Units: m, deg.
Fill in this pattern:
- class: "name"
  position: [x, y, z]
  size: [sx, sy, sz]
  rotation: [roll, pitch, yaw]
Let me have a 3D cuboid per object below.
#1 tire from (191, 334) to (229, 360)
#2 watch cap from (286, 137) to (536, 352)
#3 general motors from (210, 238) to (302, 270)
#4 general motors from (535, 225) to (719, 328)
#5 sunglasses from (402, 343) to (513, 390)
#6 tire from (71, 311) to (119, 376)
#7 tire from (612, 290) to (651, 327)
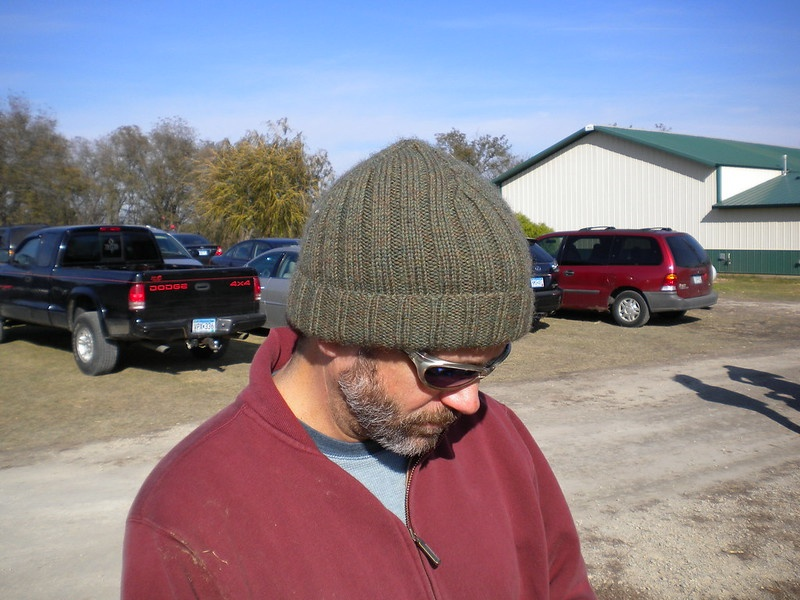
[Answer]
- class: "tire"
  position: [-2.964, 0.807, 8.381]
  size: [0.610, 0.213, 0.525]
  rotation: [-5, 1, 34]
- class: "watch cap"
  position: [0.043, -0.120, 1.364]
  size: [0.581, 0.487, 0.213]
  rotation: [1, 5, -8]
- class: "general motors"
  position: [-3.408, -1.135, 12.572]
  size: [2.381, 0.714, 1.039]
  rotation: [4, 8, 39]
- class: "general motors"
  position: [5.092, -0.680, 12.825]
  size: [2.109, 1.568, 4.080]
  rotation: [-6, 11, -44]
- class: "sunglasses"
  position: [0.122, 0.184, 1.317]
  size: [0.142, 0.038, 0.134]
  rotation: [-1, 6, -40]
- class: "tire"
  position: [-4.293, 0.639, 7.622]
  size: [0.788, 0.918, 0.348]
  rotation: [6, 7, 43]
- class: "tire"
  position: [5.172, 0.264, 11.965]
  size: [0.332, 0.832, 0.893]
  rotation: [-4, 12, -28]
